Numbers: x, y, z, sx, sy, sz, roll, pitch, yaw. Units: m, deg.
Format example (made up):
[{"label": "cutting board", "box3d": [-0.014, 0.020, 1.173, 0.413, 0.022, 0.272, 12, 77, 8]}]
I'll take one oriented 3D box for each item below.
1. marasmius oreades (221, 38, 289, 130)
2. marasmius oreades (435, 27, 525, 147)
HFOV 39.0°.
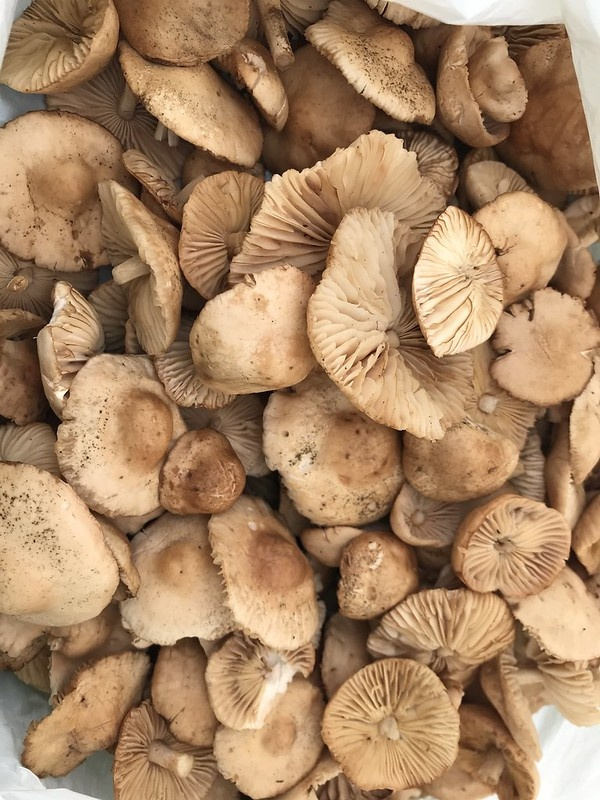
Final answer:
[{"label": "marasmius oreades", "box3d": [-0.105, -0.912, 2.514, 0.067, 0.229, 0.247, -31, -21, -1]}, {"label": "marasmius oreades", "box3d": [0.521, -0.925, 2.574, 0.217, 0.361, 0.246, -22, 30, -27]}]
